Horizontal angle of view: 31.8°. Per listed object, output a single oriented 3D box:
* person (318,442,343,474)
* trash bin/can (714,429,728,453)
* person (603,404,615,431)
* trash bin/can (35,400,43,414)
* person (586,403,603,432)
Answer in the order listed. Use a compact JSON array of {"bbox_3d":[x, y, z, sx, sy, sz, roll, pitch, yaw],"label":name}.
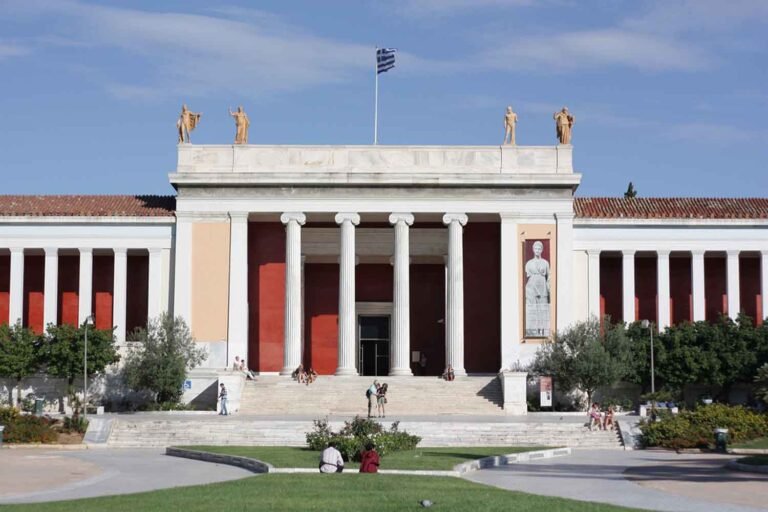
[{"bbox_3d":[-2.164,8.677,57.795,1.349,1.517,0.980,1,-7,8],"label":"person"},{"bbox_3d":[16.630,9.035,66.096,0.610,1.163,1.071,-1,-8,10],"label":"trash bin/can"},{"bbox_3d":[11.880,8.520,70.848,0.587,1.303,1.221,-1,-8,10],"label":"person"},{"bbox_3d":[-20.439,8.861,79.593,0.497,0.797,2.970,2,-8,-15],"label":"trash bin/can"},{"bbox_3d":[11.276,8.653,71.735,0.817,1.033,1.925,0,22,7],"label":"person"}]
